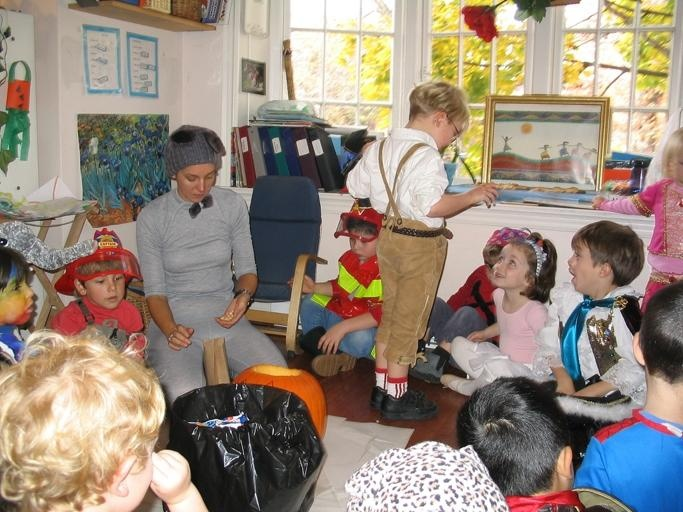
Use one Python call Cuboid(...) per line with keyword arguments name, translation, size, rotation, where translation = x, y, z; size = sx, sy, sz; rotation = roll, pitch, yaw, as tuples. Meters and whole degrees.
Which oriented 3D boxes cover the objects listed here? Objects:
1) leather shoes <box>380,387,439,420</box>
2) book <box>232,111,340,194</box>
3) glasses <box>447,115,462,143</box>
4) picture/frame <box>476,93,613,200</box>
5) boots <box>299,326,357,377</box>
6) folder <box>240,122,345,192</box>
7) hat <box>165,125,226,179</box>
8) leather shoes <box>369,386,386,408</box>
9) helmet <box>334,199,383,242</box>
Cuboid(name="leather shoes", translation=(0.342, 0.739, 2.637), size=(0.259, 0.146, 0.128), rotation=(-1, 0, -9))
Cuboid(name="book", translation=(-0.346, -0.646, 4.080), size=(0.946, 0.520, 0.650), rotation=(0, -13, 12))
Cuboid(name="glasses", translation=(0.560, -0.631, 2.549), size=(0.025, 0.083, 0.079), rotation=(7, -2, -20))
Cuboid(name="picture/frame", translation=(1.193, -0.628, 3.032), size=(0.664, 0.580, 0.047), rotation=(4, 3, 17))
Cuboid(name="boots", translation=(-0.070, 0.576, 3.193), size=(0.168, 0.298, 0.443), rotation=(-28, -30, 22))
Cuboid(name="folder", translation=(-0.337, -0.693, 3.636), size=(0.535, 0.321, 0.210), rotation=(0, 35, 23))
Cuboid(name="hat", translation=(-0.720, -0.505, 2.546), size=(0.238, 0.199, 0.246), rotation=(1, 4, -1))
Cuboid(name="leather shoes", translation=(0.183, 0.716, 2.639), size=(0.058, 0.077, 0.123), rotation=(4, 8, 22))
Cuboid(name="helmet", translation=(0.133, -0.183, 2.979), size=(0.182, 0.207, 0.267), rotation=(3, -18, 41))
